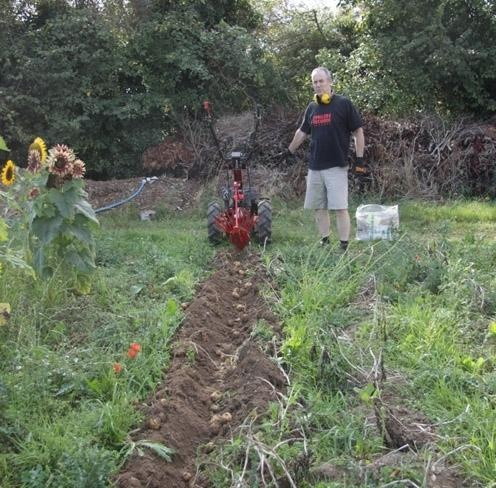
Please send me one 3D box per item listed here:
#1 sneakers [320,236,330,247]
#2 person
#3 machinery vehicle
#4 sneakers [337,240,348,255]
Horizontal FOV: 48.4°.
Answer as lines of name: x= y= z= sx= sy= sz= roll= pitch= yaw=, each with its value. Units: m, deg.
sneakers: x=0.892 y=-0.034 z=6.438 sx=0.079 sy=0.039 sz=0.114 roll=-8 pitch=36 yaw=4
person: x=0.967 y=-0.974 z=6.347 sx=0.693 sy=2.043 sz=0.409 roll=-1 pitch=6 yaw=13
machinery vehicle: x=-0.151 y=-0.853 z=7.532 sx=0.726 sy=2.087 sz=2.553 roll=-3 pitch=15 yaw=1
sneakers: x=1.053 y=0.032 z=6.300 sx=0.131 sy=0.144 sz=0.209 roll=-4 pitch=33 yaw=12
